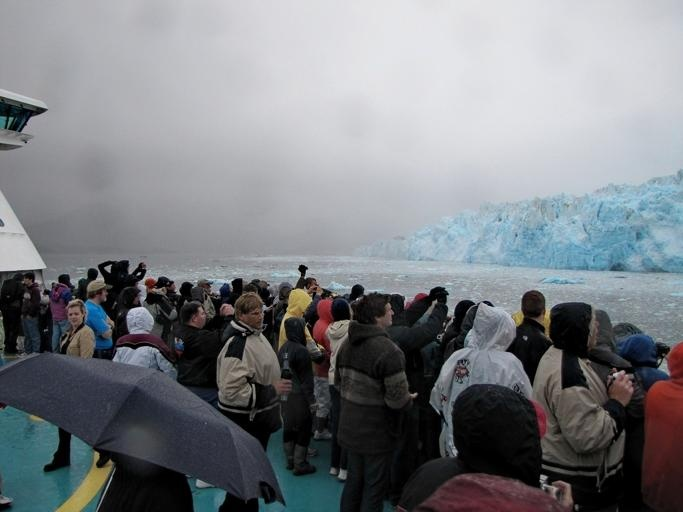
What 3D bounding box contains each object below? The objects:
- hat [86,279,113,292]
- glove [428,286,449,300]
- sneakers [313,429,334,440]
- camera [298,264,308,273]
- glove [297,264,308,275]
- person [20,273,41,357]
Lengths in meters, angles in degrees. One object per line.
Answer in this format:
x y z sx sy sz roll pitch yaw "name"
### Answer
-3.591 0.451 6.835 0.248 0.192 0.375 -4 -4 41 "hat"
1.048 0.403 4.919 0.185 0.139 0.189 -7 -11 -5 "glove"
-0.277 2.651 6.767 0.314 0.143 0.113 0 2 -20 "sneakers"
-0.751 0.227 8.941 0.212 0.141 0.224 9 -15 -20 "camera"
-0.764 0.270 8.898 0.211 0.318 0.125 2 50 1 "glove"
-6.854 1.290 10.104 0.417 1.840 0.741 -6 7 -34 "person"
